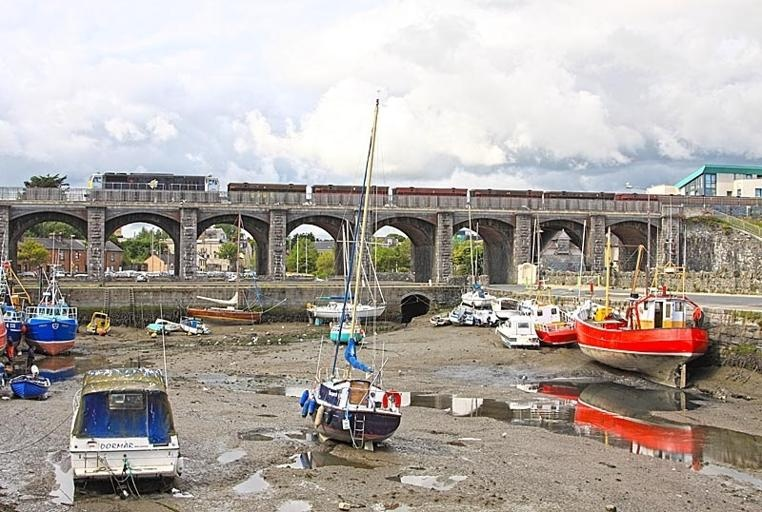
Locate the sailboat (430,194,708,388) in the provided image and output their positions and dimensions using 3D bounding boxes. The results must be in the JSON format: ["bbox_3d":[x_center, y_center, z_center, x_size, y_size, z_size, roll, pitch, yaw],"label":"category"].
[{"bbox_3d":[13.590,2.090,70.156,13.675,10.727,12.546,-9,0,13],"label":"sailboat"}]

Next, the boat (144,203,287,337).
[{"bbox_3d":[-14.001,-1.603,88.693,8.588,7.944,31.277,-1,13,-11],"label":"boat"}]
